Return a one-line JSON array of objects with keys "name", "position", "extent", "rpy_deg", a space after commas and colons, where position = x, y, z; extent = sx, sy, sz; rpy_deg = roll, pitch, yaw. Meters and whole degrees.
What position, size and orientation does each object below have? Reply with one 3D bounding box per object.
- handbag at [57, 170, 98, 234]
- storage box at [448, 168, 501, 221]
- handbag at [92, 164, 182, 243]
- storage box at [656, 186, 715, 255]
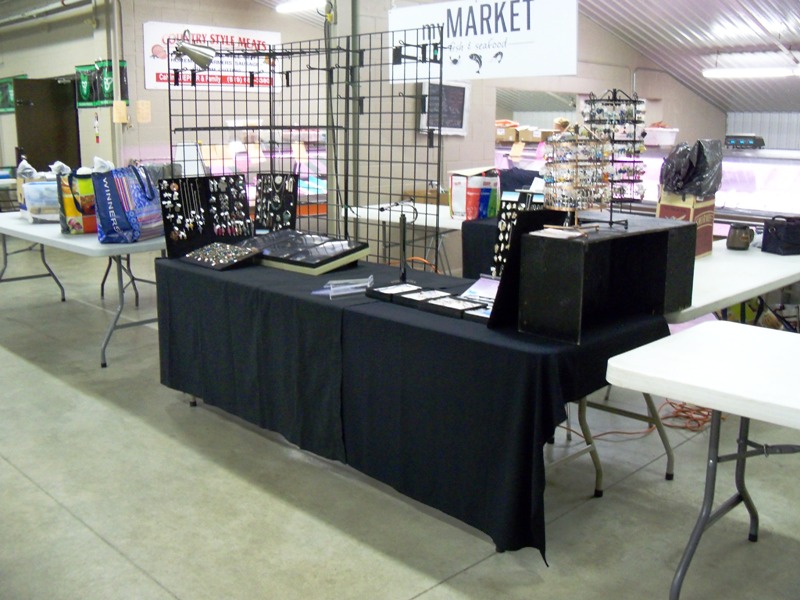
[{"name": "handbag", "position": [-2.423, -0.748, 4.488], "extent": [0.368, 0.503, 0.160], "rpy_deg": [9, 19, 19]}, {"name": "storage box", "position": [0.569, -0.821, 4.629], "extent": [0.346, 0.351, 0.257], "rpy_deg": [-8, 16, -35]}, {"name": "handbag", "position": [-1.925, -0.689, 4.255], "extent": [0.524, 0.744, 0.217], "rpy_deg": [-3, -3, -11]}, {"name": "storage box", "position": [1.791, -0.482, 3.741], "extent": [0.311, 0.425, 0.258], "rpy_deg": [-10, 16, -25]}]
